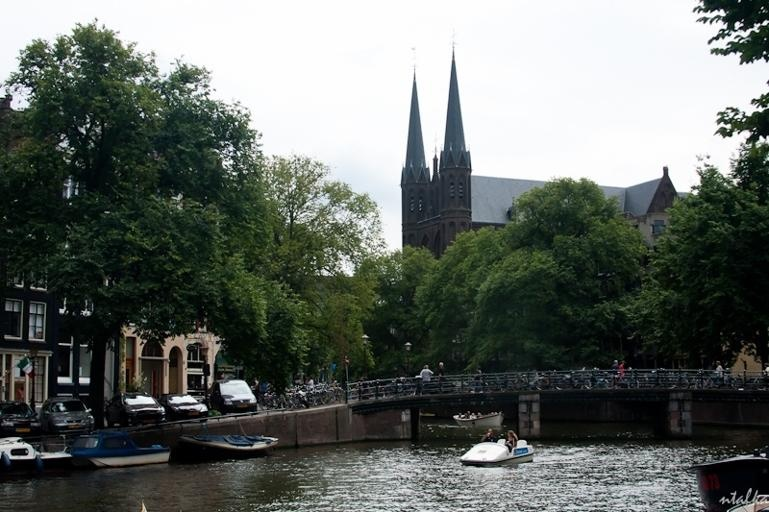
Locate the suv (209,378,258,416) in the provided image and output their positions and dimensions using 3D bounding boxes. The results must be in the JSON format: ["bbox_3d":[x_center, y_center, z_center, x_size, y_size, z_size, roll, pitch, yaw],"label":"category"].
[{"bbox_3d":[-9.020,8.306,72.492,2.770,2.051,2.395,-3,-8,1],"label":"suv"}]

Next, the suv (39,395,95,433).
[{"bbox_3d":[-17.729,8.779,67.727,2.299,1.954,3.766,2,-9,-29],"label":"suv"}]

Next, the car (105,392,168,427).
[{"bbox_3d":[-14.662,8.936,71.413,2.314,1.915,5.272,0,0,-26],"label":"car"}]

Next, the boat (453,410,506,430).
[{"bbox_3d":[7.246,12.748,94.373,3.321,1.329,5.816,-3,-8,-1],"label":"boat"}]

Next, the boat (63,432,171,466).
[{"bbox_3d":[-13.991,10.116,64.123,5.347,1.629,2.572,2,-1,-24],"label":"boat"}]
